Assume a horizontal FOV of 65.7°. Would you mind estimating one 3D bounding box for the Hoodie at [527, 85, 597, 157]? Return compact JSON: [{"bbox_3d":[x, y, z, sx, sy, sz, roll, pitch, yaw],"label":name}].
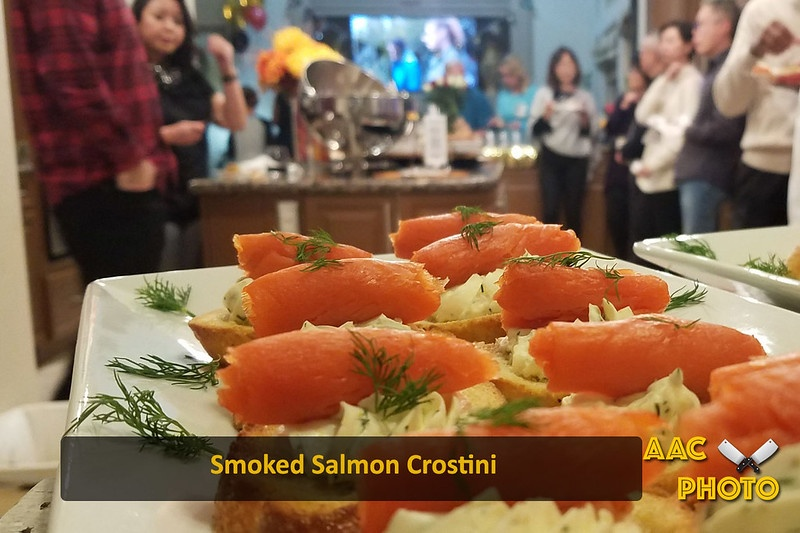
[{"bbox_3d":[1.043,-0.923,3.918,0.437,0.448,0.278,3,15,10],"label":"Hoodie"}]
